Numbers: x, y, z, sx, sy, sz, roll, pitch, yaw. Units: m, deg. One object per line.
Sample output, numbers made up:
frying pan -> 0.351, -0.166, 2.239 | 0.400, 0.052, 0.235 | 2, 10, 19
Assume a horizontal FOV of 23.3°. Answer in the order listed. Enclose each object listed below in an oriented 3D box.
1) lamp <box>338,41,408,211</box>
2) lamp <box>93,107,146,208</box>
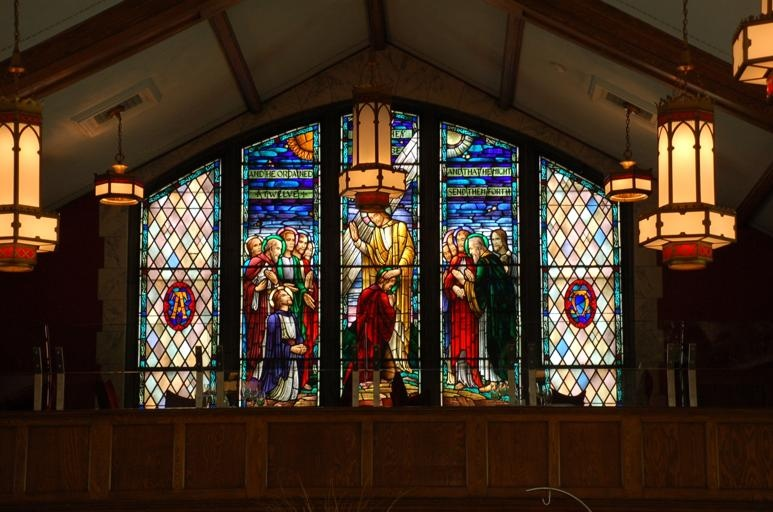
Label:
lamp -> -0.154, -1.138, 19.295 | 0.672, 1.312, 0.471 | 1, 3, 0
lamp -> -3.070, -1.163, 21.574 | 0.535, 1.094, 0.814 | 2, 3, 3
